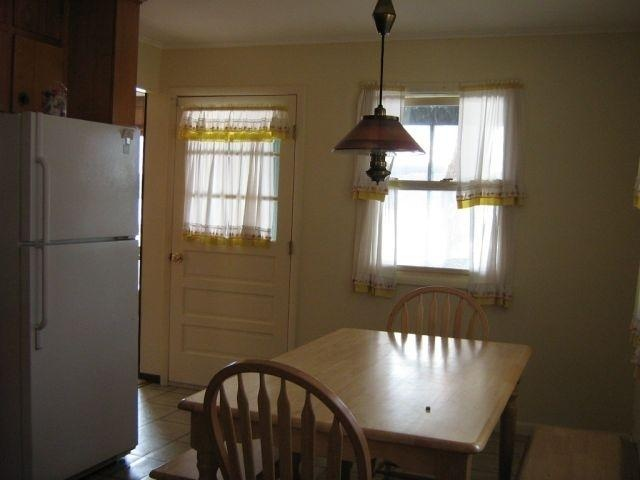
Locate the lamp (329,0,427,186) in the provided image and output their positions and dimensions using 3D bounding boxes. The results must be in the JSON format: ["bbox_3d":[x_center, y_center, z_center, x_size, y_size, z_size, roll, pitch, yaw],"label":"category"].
[{"bbox_3d":[0.315,-0.830,3.158,0.429,0.983,1.287,2,10,2],"label":"lamp"}]
